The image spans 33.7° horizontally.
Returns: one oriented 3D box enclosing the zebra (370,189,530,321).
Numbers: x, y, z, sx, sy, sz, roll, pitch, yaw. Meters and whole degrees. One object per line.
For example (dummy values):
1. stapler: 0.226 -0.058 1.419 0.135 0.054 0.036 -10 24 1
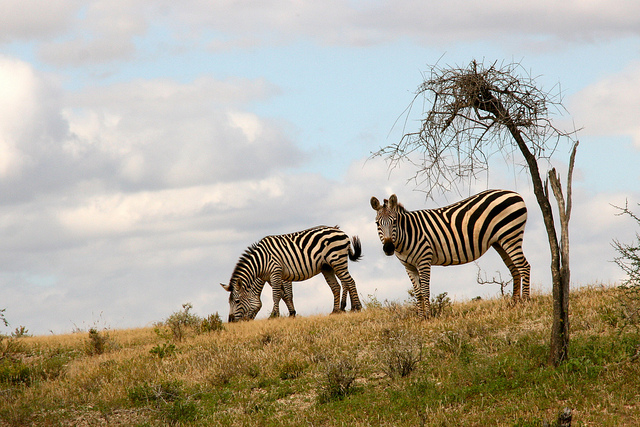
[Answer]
1. zebra: 4.438 1.207 35.415 5.488 4.234 1.526 -6 1 -7
